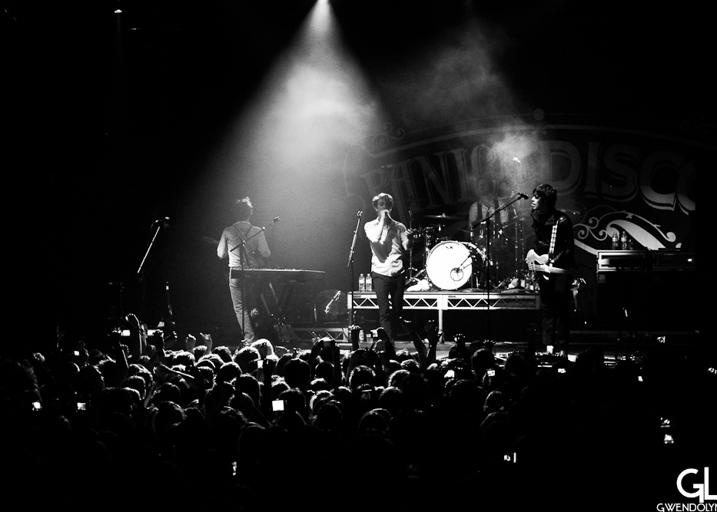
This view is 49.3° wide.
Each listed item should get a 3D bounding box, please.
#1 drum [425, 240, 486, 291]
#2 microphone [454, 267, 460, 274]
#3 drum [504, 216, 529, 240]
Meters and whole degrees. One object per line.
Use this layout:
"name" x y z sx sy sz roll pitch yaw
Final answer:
"drum" 1.383 0.129 12.261 0.799 0.799 0.545 -2 9 -5
"microphone" 1.538 0.219 12.014 0.086 0.074 0.021 0 -16 6
"drum" 2.645 -0.413 13.143 0.449 0.447 0.354 3 -6 -22
